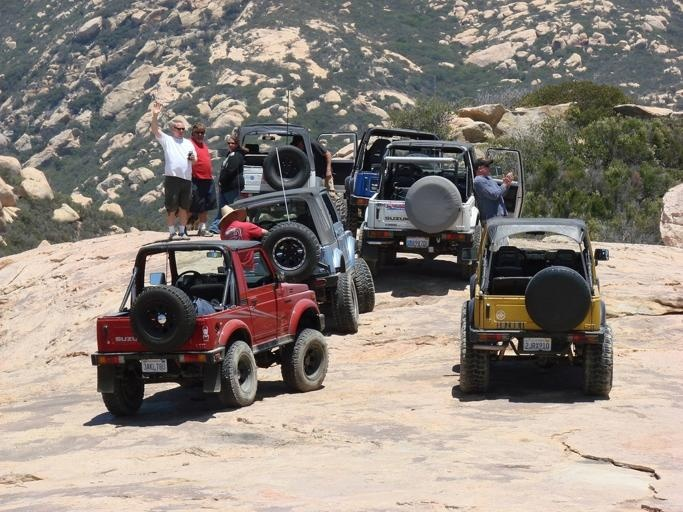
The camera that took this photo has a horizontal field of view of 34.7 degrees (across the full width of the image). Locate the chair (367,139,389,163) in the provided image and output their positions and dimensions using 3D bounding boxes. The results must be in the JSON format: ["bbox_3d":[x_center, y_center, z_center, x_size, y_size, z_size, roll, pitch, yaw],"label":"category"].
[{"bbox_3d":[0.958,-2.716,28.370,0.473,0.602,0.670,6,-24,0],"label":"chair"}]

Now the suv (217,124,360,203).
[{"bbox_3d":[-1.345,-2.281,27.258,3.142,2.306,3.960,-2,-2,-15],"label":"suv"}]

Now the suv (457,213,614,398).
[{"bbox_3d":[3.615,0.726,20.375,2.694,2.900,5.010,0,8,6],"label":"suv"}]

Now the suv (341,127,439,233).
[{"bbox_3d":[1.027,-2.148,27.631,1.688,1.912,3.213,1,11,2],"label":"suv"}]

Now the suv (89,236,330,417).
[{"bbox_3d":[-2.283,1.194,19.747,2.578,2.774,4.911,-3,2,18],"label":"suv"}]

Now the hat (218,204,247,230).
[{"bbox_3d":[-2.085,-0.770,20.839,0.372,0.215,0.524,-38,-7,1],"label":"hat"}]

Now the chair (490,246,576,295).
[{"bbox_3d":[3.218,0.196,19.183,0.789,0.651,1.321,2,10,16],"label":"chair"}]

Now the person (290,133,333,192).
[{"bbox_3d":[-0.630,-2.439,27.436,0.942,0.793,1.575,6,27,0],"label":"person"}]

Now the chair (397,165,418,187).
[{"bbox_3d":[1.554,-1.879,25.329,0.389,0.359,0.617,4,21,11],"label":"chair"}]

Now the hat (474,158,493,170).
[{"bbox_3d":[3.292,-2.127,25.011,0.460,0.259,0.294,-7,8,2],"label":"hat"}]

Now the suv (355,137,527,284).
[{"bbox_3d":[2.160,-1.298,25.377,2.591,2.042,3.976,2,15,13],"label":"suv"}]

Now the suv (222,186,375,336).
[{"bbox_3d":[-0.807,-0.024,23.697,2.722,2.903,4.902,-5,7,9],"label":"suv"}]

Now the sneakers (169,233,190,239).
[{"bbox_3d":[-3.644,-0.436,24.447,0.297,0.110,0.214,-6,-6,40],"label":"sneakers"}]

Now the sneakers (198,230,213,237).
[{"bbox_3d":[-3.255,-0.549,26.359,0.304,0.120,0.112,-2,47,-10],"label":"sneakers"}]
